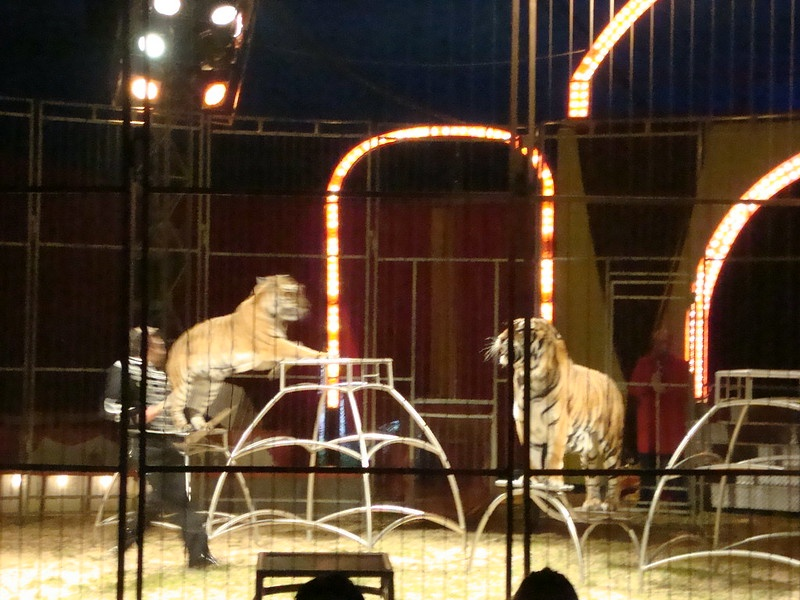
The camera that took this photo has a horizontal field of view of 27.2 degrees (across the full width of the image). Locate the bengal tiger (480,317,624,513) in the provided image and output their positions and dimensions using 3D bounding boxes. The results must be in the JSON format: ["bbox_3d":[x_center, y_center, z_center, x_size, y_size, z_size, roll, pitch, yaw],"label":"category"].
[{"bbox_3d":[1.510,1.123,14.919,0.579,1.512,2.409,-9,-23,34],"label":"bengal tiger"}]

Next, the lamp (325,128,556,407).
[{"bbox_3d":[0.345,-0.355,13.758,1.966,2.239,1.526,0,-2,-1],"label":"lamp"}]

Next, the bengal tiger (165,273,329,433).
[{"bbox_3d":[-1.346,0.476,14.395,1.783,1.027,0.542,-22,-18,21],"label":"bengal tiger"}]
